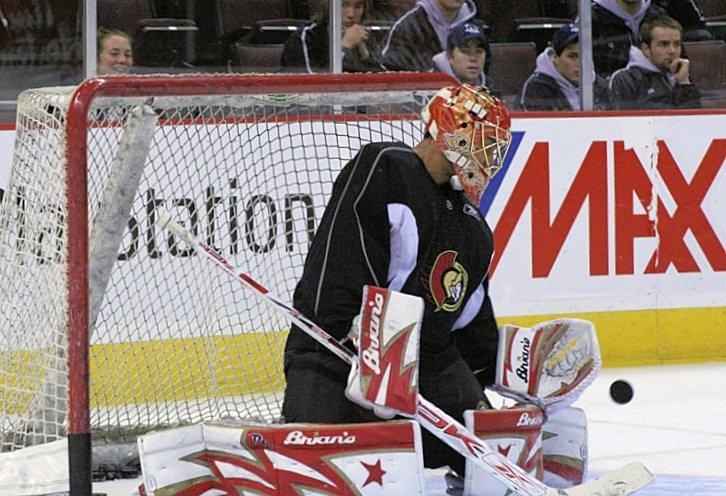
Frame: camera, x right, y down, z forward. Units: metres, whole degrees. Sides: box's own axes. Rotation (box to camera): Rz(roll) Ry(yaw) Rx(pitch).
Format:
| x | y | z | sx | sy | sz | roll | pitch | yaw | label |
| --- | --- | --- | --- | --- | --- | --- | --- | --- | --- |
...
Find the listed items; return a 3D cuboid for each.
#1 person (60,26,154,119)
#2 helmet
| x | y | z | sx | sy | sz | roll | pitch | yaw | label |
| --- | --- | --- | --- | --- | --- | --- | --- | --- | --- |
| -1.191 | -0.825 | 5.472 | 0.438 | 0.402 | 1.067 | -2 | 11 | -14 | person |
| 0.351 | -0.415 | 4.541 | 0.408 | 0.405 | 0.338 | 11 | 3 | 7 | helmet |
